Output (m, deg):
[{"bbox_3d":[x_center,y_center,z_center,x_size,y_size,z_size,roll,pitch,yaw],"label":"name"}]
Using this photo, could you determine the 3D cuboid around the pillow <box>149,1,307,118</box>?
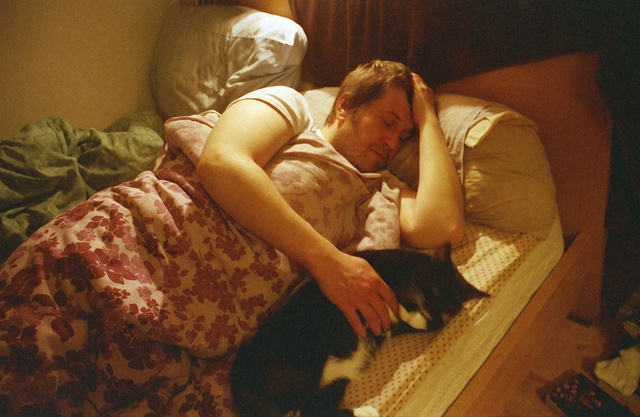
[{"bbox_3d":[-0.439,-0.735,2.662,0.624,0.358,0.477,6,79,30],"label":"pillow"}]

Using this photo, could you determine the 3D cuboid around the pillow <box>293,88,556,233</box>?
[{"bbox_3d":[0.614,-0.181,2.218,0.672,0.211,0.494,12,69,-8],"label":"pillow"}]
